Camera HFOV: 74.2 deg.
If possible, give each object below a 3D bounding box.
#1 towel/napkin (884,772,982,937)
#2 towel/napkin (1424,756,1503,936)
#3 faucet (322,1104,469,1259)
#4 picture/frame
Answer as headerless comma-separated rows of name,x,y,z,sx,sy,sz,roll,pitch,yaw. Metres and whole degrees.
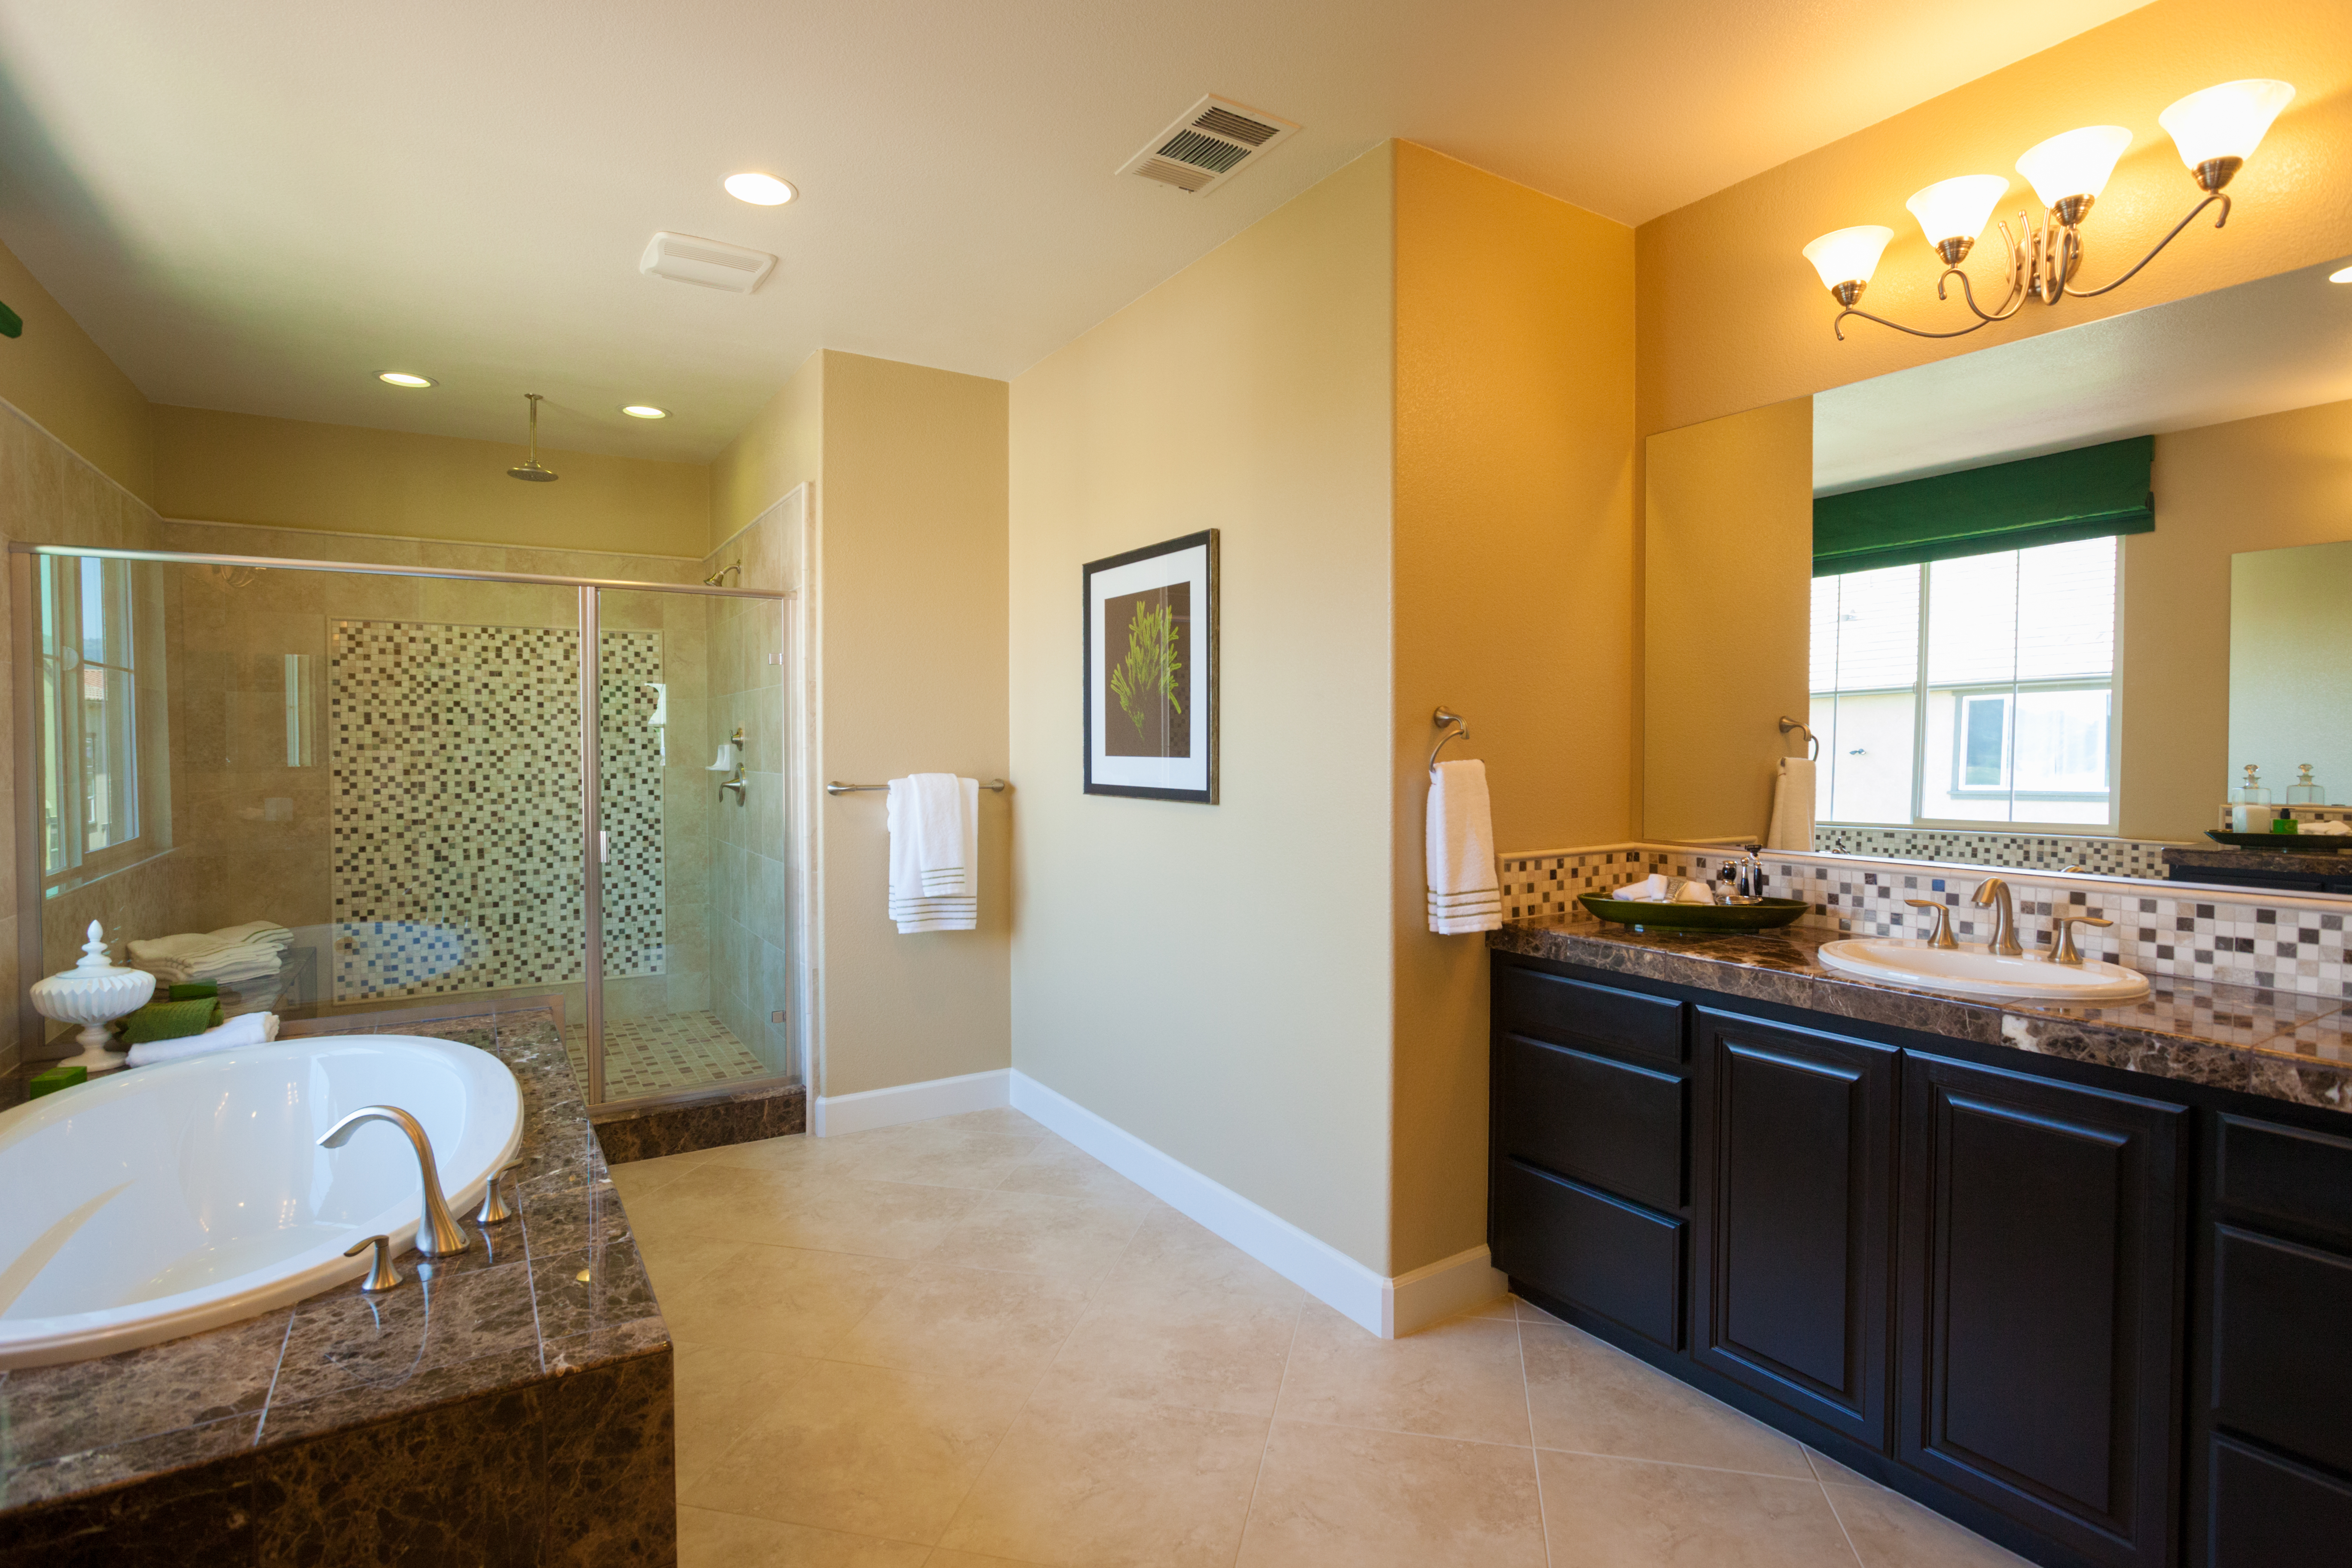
towel/napkin,-0.909,0.251,5.802,0.318,0.560,0.167,-1,2,-20
towel/napkin,0.830,0.183,4.473,0.244,0.504,0.151,-1,2,-17
faucet,-1.813,0.916,3.652,0.281,0.365,0.312,-1,1,-21
picture/frame,-0.066,-0.405,5.211,0.041,1.020,0.940,0,1,-32
